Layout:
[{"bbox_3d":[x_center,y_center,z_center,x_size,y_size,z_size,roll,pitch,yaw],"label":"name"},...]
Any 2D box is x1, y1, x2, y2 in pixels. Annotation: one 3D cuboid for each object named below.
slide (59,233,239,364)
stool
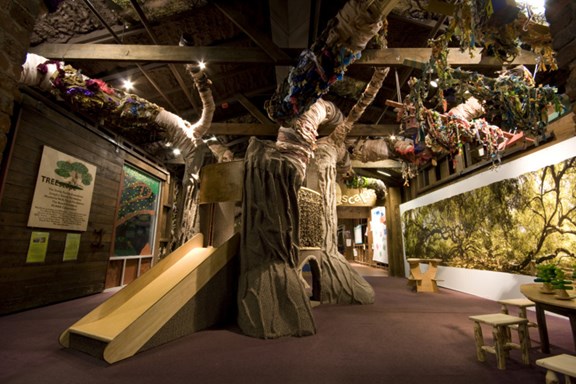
[{"bbox_3d":[-1.789,1.356,4.450,1.066,1.078,2.111,-5,-1,36],"label":"slide"},{"bbox_3d":[2.721,1.606,3.570,0.773,0.329,0.882,3,-9,-23],"label":"stool"}]
